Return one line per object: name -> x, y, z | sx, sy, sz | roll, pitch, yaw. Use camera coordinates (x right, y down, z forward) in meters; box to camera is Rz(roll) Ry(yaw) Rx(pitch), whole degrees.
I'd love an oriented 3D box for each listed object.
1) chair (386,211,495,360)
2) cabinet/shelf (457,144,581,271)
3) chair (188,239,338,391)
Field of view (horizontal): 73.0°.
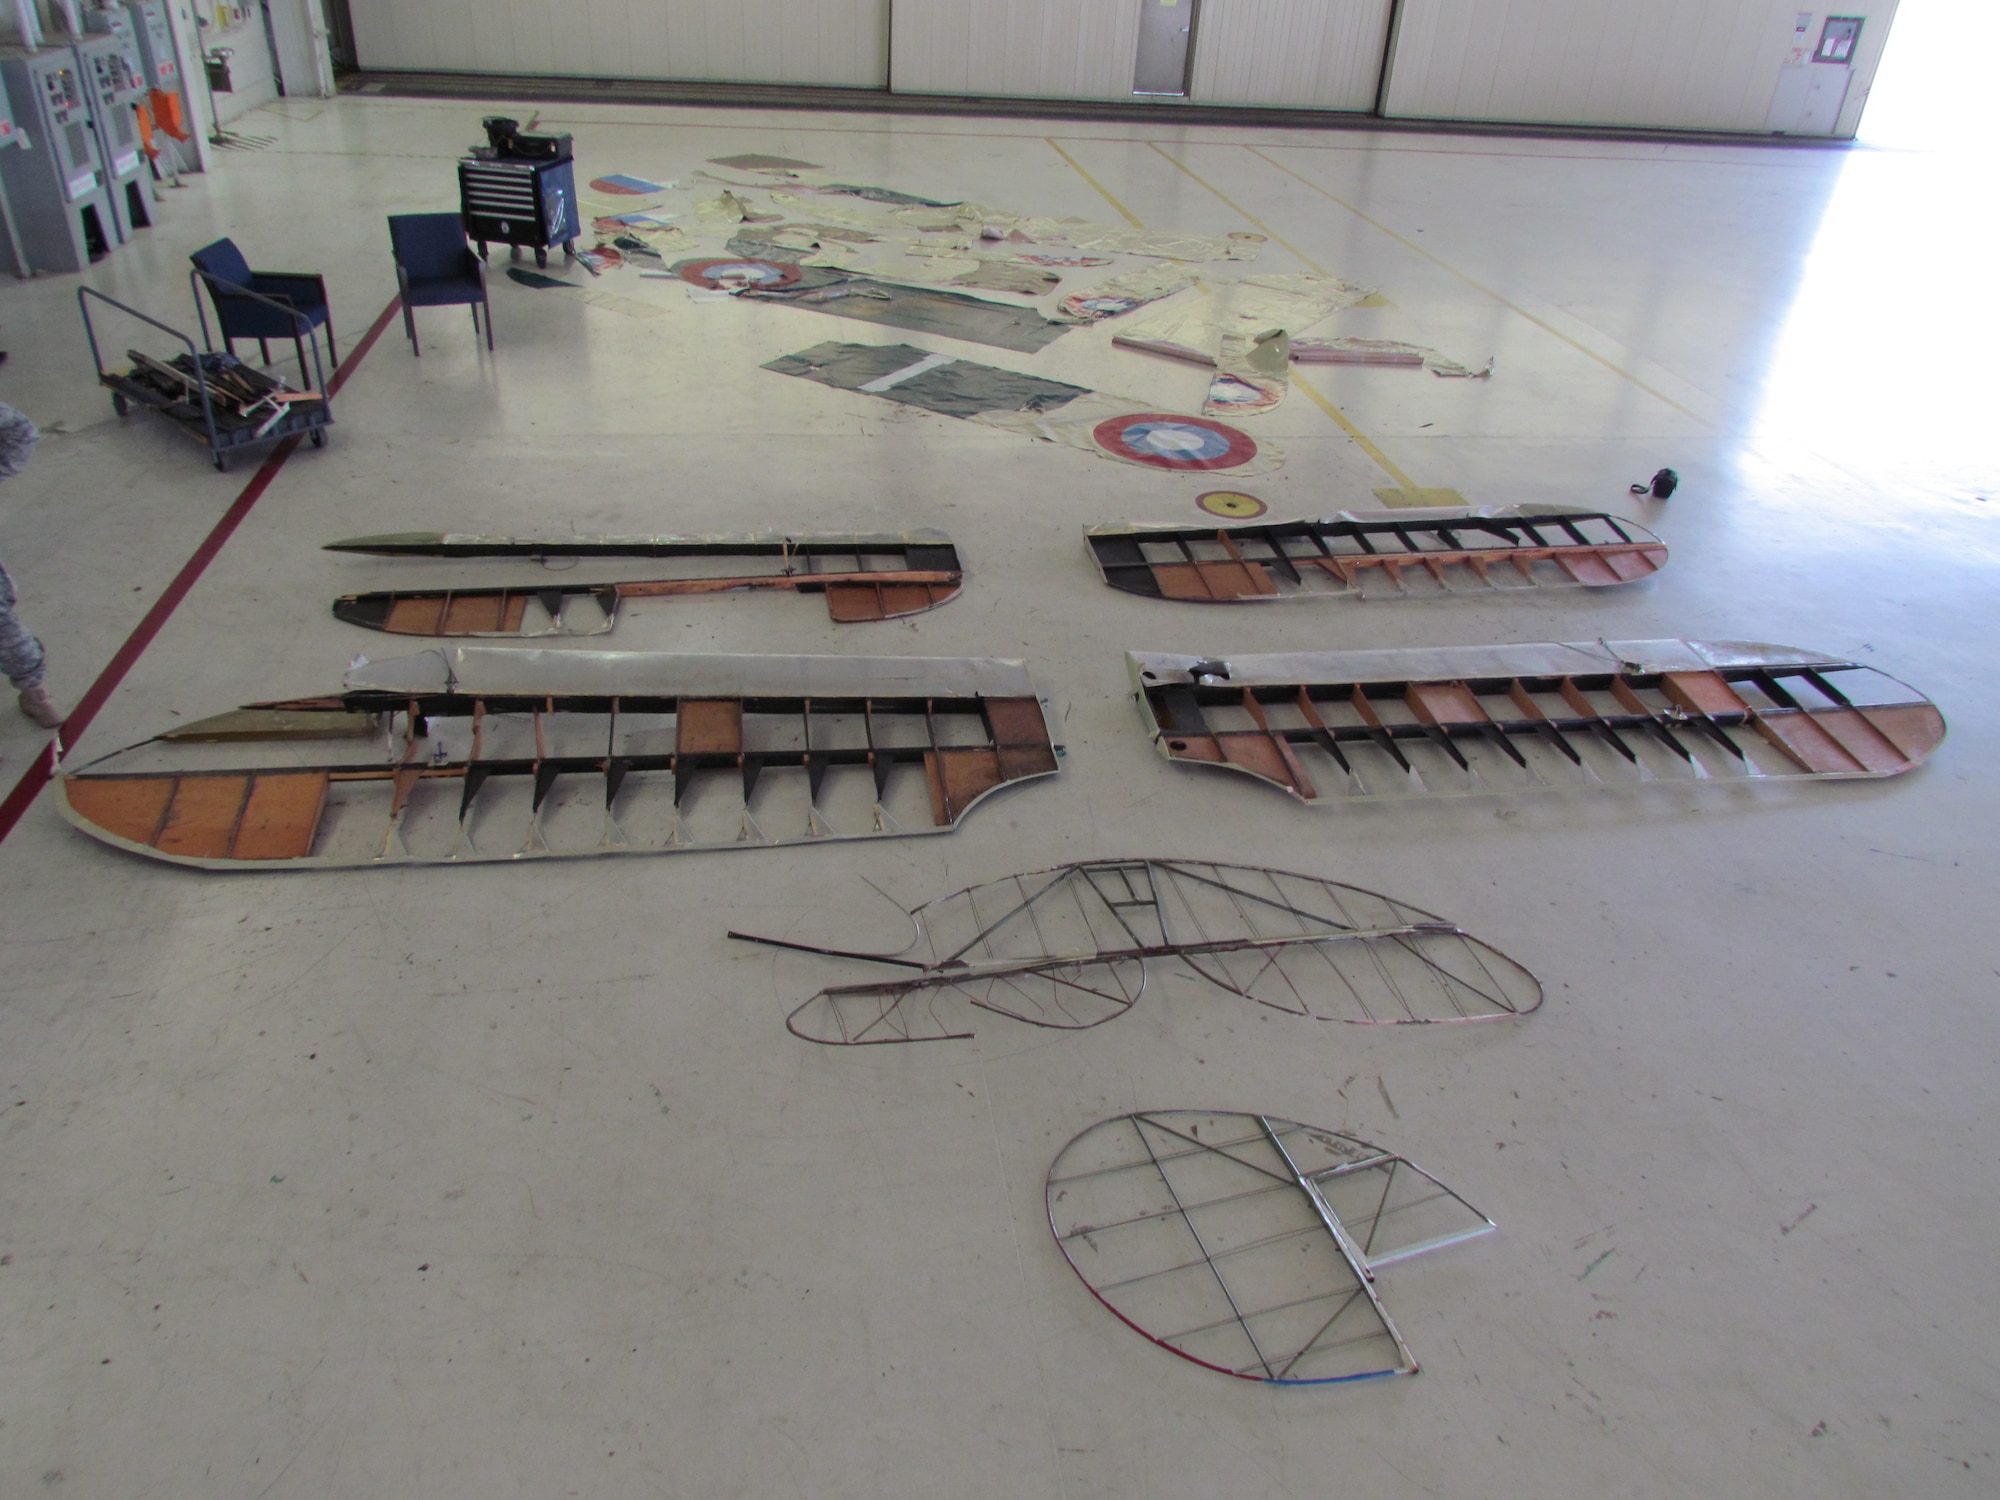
chair -> -4.415, -3.674, 10.683 | 0.711, 0.802, 0.684 | -19, 48, -26
cabinet/shelf -> -4.488, -5.003, 12.549 | 0.893, 0.903, 0.652 | 7, 33, 3
chair -> -5.383, -3.211, 10.042 | 0.761, 0.959, 1.351 | -9, 33, -21
